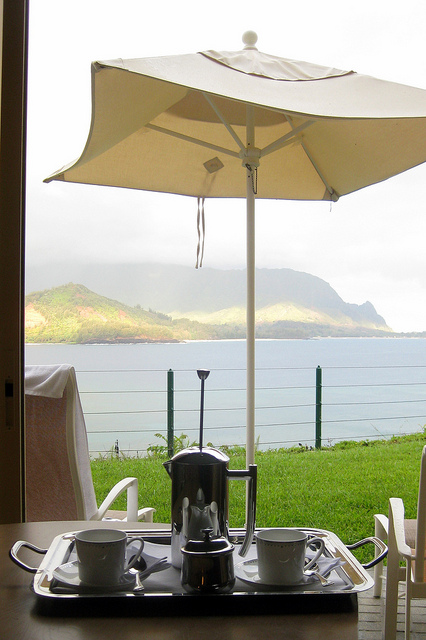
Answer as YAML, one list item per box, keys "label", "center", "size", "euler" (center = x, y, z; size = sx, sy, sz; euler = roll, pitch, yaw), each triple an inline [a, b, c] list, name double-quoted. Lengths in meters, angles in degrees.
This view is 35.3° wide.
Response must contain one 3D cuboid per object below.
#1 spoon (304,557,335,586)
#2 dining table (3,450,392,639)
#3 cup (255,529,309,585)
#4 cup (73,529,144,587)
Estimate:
- label: "spoon"
  center: [0.137, 0.336, 0.889]
  size: [0.036, 0.016, 0.067]
  euler: [10, -9, -5]
- label: "dining table"
  center: [-0.044, 0.302, 0.965]
  size: [0.546, 0.235, 0.441]
  euler: [10, -9, -5]
- label: "cup"
  center: [0.096, 0.311, 0.888]
  size: [0.073, 0.064, 0.062]
  euler: [2, 1, -12]
- label: "cup"
  center: [-0.131, 0.312, 0.877]
  size: [0.082, 0.066, 0.056]
  euler: [4, -9, -33]
